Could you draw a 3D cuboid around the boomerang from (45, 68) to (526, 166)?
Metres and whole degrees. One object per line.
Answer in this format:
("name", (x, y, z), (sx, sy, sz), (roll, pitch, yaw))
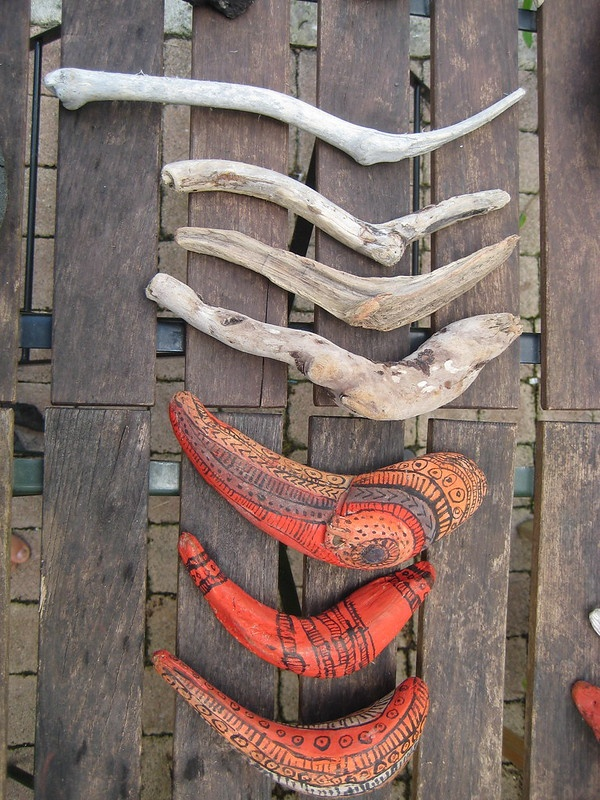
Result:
("boomerang", (-0.025, -0.526, 2.728), (0.922, 0.121, 0.238), (2, 49, -11))

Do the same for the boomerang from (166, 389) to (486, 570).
("boomerang", (0.041, 0.159, 2.719), (0.589, 0.166, 0.284), (24, 80, 5))

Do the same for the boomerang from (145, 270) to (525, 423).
("boomerang", (0.041, -0.073, 2.735), (0.724, 0.179, 0.306), (15, 79, -5))

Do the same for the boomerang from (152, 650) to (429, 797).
("boomerang", (-0.014, 0.595, 2.693), (0.481, 0.137, 0.260), (10, 81, 0))

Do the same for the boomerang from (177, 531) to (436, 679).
("boomerang", (0.028, 0.385, 2.548), (0.410, 0.113, 0.265), (1, 83, 2))

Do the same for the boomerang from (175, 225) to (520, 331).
("boomerang", (0.085, -0.214, 2.723), (0.717, 0.141, 0.259), (0, 76, 2))
